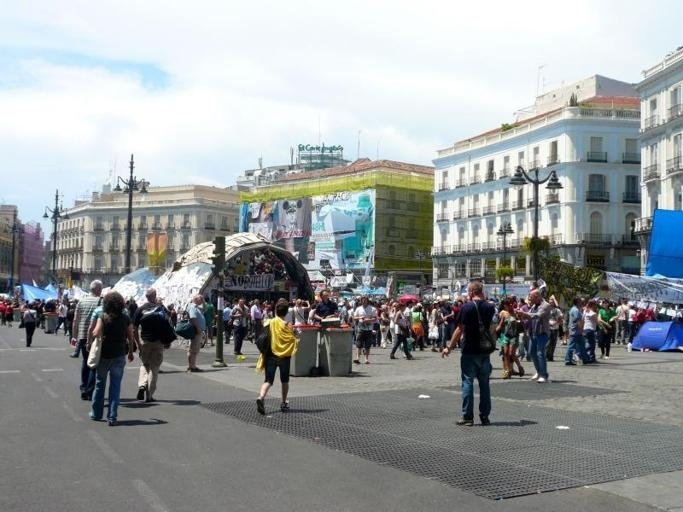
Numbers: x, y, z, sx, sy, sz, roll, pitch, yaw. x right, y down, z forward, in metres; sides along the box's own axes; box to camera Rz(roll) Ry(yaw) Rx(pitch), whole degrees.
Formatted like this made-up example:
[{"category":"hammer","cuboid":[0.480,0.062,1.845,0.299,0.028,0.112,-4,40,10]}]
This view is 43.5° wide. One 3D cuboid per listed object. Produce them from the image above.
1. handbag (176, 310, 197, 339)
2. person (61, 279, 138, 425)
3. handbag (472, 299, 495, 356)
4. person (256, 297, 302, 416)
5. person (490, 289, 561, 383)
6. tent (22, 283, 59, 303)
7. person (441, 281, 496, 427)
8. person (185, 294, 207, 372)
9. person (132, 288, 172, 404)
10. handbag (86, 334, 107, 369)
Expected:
[{"category":"handbag","cuboid":[-3.472,1.556,19.322,0.462,0.573,0.891,0,-1,-8]},{"category":"person","cuboid":[-3.763,1.604,14.186,0.734,2.194,0.670,2,0,-39]},{"category":"handbag","cuboid":[2.394,1.162,14.218,0.269,0.838,0.332,0,-2,1]},{"category":"person","cuboid":[-1.162,1.759,15.134,0.688,1.939,1.111,-1,-2,24]},{"category":"person","cuboid":[4.449,1.726,19.976,1.146,2.636,1.215,0,2,0]},{"category":"tent","cuboid":[-17.233,2.191,49.381,2.023,0.947,2.005,4,-4,-32]},{"category":"person","cuboid":[2.214,1.594,14.340,0.688,2.364,0.651,0,-1,13]},{"category":"person","cuboid":[-3.534,1.860,20.932,0.484,1.897,0.829,-3,-10,7]},{"category":"person","cuboid":[-3.572,1.592,16.251,0.630,2.332,0.505,2,0,-34]},{"category":"handbag","cuboid":[-4.044,1.570,14.001,0.268,0.531,0.199,-2,-2,44]}]
